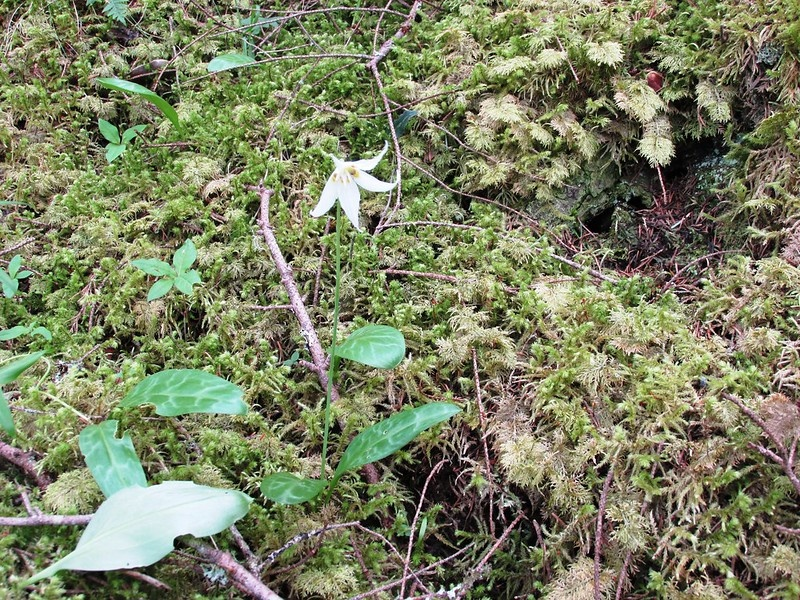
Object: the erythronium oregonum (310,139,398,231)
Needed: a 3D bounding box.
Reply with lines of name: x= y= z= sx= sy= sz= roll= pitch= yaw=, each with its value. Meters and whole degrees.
erythronium oregonum: x=-0.256 y=-0.538 z=3.251 sx=0.469 sy=0.198 sz=0.475 roll=-7 pitch=16 yaw=-18
